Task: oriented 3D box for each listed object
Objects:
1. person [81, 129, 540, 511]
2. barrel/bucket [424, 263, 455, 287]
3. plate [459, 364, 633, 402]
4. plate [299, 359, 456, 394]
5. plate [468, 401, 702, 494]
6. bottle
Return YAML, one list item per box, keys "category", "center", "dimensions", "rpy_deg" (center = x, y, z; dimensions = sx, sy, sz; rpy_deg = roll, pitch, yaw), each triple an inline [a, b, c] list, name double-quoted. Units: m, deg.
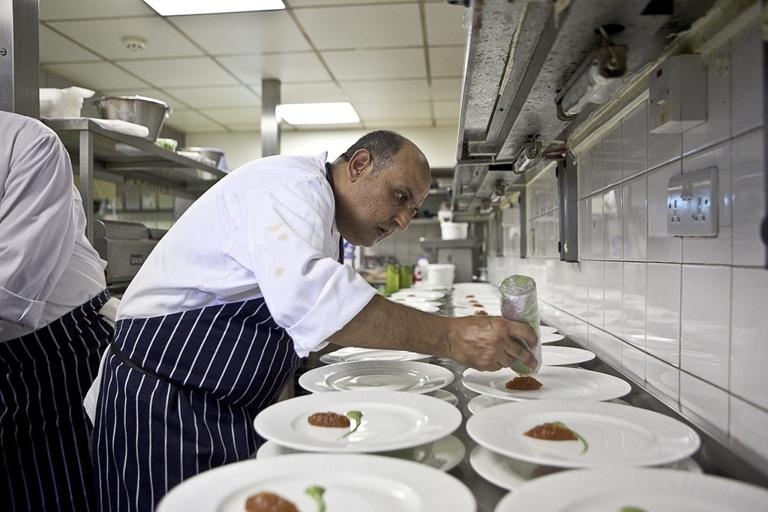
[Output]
- category: "person"
  center: [-0.398, 0.101, 2.162]
  dimensions: [1.282, 1.739, 0.990]
  rpy_deg: [10, 3, -7]
- category: "barrel/bucket"
  center: [0.465, 0.143, 4.457]
  dimensions: [0.181, 0.132, 0.185]
  rpy_deg: [1, 1, 0]
- category: "plate"
  center: [0.433, 0.341, 1.477]
  dimensions: [0.432, 0.076, 0.268]
  rpy_deg: [2, 1, 2]
- category: "plate"
  center: [-0.020, 0.349, 1.524]
  dimensions: [0.399, 0.047, 0.422]
  rpy_deg: [-2, 0, 18]
- category: "plate"
  center: [0.425, 0.387, 1.155]
  dimensions: [0.217, 0.054, 0.227]
  rpy_deg: [-5, 6, -30]
- category: "bottle"
  center: [0.381, 0.191, 1.499]
  dimensions: [0.121, 0.252, 0.177]
  rpy_deg: [2, 1, 12]
